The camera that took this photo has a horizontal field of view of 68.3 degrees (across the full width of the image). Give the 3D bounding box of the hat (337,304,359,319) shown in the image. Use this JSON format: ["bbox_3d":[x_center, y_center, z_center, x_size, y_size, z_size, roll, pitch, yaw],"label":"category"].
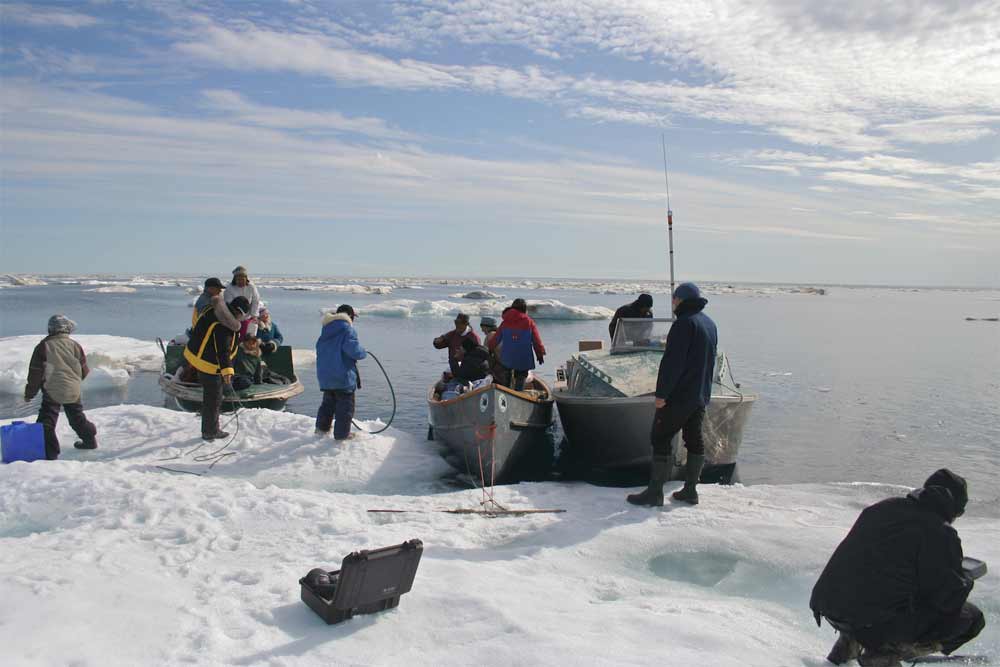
[{"bbox_3d":[-2.222,-0.337,10.769,0.282,0.193,0.350,9,10,-10],"label":"hat"}]

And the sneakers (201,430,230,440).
[{"bbox_3d":[-4.026,1.459,10.520,0.372,0.139,0.116,-6,14,-19],"label":"sneakers"}]

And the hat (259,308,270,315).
[{"bbox_3d":[-4.737,-0.458,14.921,0.164,0.146,0.122,-6,10,-35],"label":"hat"}]

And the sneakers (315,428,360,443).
[{"bbox_3d":[-2.440,1.523,11.003,0.460,0.122,0.251,0,-1,4],"label":"sneakers"}]

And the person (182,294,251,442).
[{"bbox_3d":[-4.094,0.472,10.684,0.923,1.965,1.030,3,-3,-41],"label":"person"}]

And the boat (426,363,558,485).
[{"bbox_3d":[0.009,1.312,11.664,1.905,1.548,3.096,-1,8,-18],"label":"boat"}]

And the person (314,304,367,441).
[{"bbox_3d":[-2.343,0.567,10.805,0.676,2.030,0.836,0,9,-13],"label":"person"}]

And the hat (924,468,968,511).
[{"bbox_3d":[3.572,1.222,5.845,0.299,0.328,0.384,7,-2,13],"label":"hat"}]

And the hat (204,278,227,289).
[{"bbox_3d":[-4.027,-0.711,10.483,0.233,0.153,0.320,6,11,21],"label":"hat"}]

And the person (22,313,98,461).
[{"bbox_3d":[-5.838,0.682,9.862,0.781,1.873,1.157,-3,10,-29],"label":"person"}]

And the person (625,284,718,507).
[{"bbox_3d":[2.082,0.710,8.682,0.730,2.614,0.917,5,9,22],"label":"person"}]
